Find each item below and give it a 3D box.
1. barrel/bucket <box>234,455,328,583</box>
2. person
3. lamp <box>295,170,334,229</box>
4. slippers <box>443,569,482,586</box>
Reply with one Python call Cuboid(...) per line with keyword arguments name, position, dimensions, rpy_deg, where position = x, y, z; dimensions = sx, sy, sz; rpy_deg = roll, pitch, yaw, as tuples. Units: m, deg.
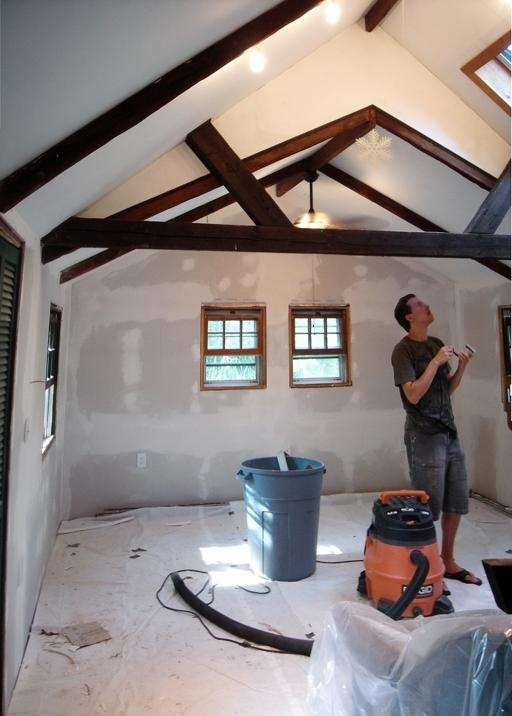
Cuboid(name="barrel/bucket", position=(0.141, 0.884, 3.275), dimensions=(0.709, 0.803, 0.579), rpy_deg=(-1, -3, 6))
Cuboid(name="person", position=(0.965, 0.437, 2.987), dimensions=(0.425, 1.620, 0.502), rpy_deg=(-2, -2, 31))
Cuboid(name="lamp", position=(0.475, -1.266, 4.674), dimensions=(0.279, 0.516, 0.900), rpy_deg=(-1, -1, 8))
Cuboid(name="slippers", position=(1.165, 1.214, 3.038), dimensions=(0.176, 0.048, 0.082), rpy_deg=(-5, -6, 37))
